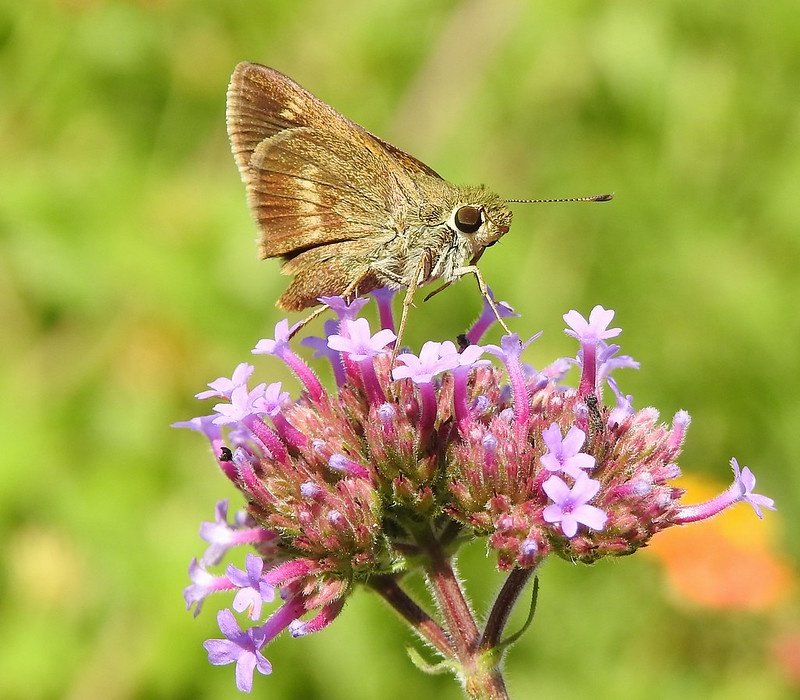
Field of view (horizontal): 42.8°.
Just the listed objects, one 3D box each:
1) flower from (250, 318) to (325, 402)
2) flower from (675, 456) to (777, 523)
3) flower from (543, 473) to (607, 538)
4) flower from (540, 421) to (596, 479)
[{"bbox_3d":[-0.980,0.080,8.665,0.407,0.382,0.602,-38,-57,0],"label":"flower"},{"bbox_3d":[2.202,1.092,7.177,0.707,0.417,0.412,-11,-68,-18],"label":"flower"},{"bbox_3d":[1.100,0.990,6.621,0.378,0.435,0.151,5,-24,3],"label":"flower"},{"bbox_3d":[1.082,0.673,6.735,0.334,0.381,0.181,-27,-17,-6],"label":"flower"}]
